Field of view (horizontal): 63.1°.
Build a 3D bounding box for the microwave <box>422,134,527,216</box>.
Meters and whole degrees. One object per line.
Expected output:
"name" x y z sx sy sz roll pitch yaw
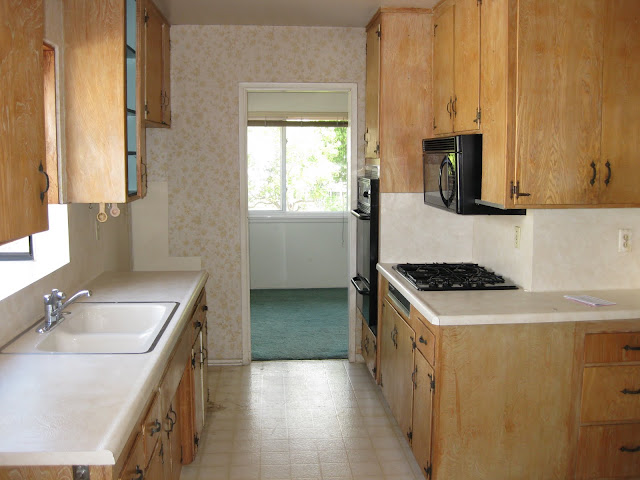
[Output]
"microwave" 0.925 -0.429 3.384 0.342 0.460 0.648 -4 9 -9
